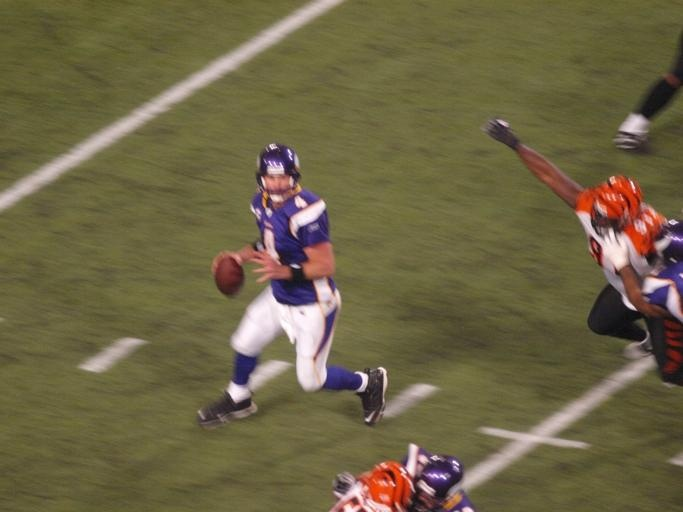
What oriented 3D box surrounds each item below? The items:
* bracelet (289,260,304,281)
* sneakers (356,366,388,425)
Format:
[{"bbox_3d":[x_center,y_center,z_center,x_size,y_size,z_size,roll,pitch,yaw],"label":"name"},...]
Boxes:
[{"bbox_3d":[-0.301,0.104,7.178,0.114,0.118,0.123,-2,34,-3],"label":"bracelet"},{"bbox_3d":[0.194,0.998,7.683,0.305,0.382,0.163,4,22,-3],"label":"sneakers"}]
